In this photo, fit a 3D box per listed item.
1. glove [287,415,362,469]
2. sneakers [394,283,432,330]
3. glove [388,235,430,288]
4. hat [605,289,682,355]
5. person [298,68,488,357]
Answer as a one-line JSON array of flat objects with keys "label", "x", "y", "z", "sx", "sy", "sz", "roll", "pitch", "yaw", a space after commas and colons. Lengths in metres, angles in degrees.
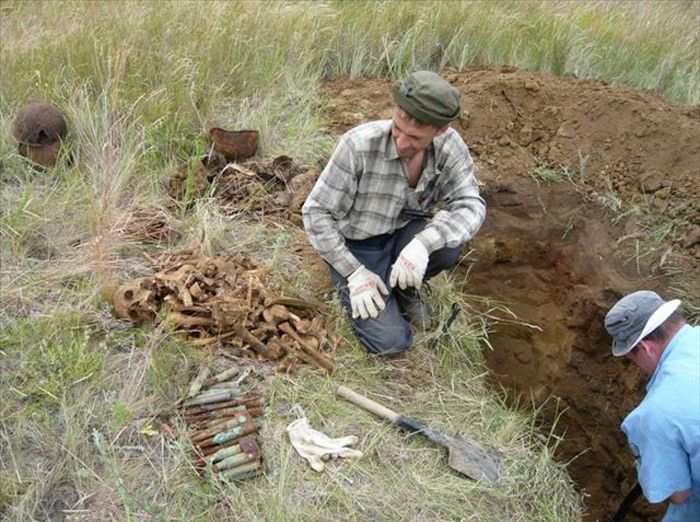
[{"label": "glove", "x": -0.176, "y": 1.216, "z": 3.864, "sx": 0.528, "sy": 0.133, "sz": 0.266, "roll": 16, "pitch": 38, "yaw": 2}, {"label": "sneakers", "x": 0.475, "y": 0.361, "z": 4.543, "sx": 0.090, "sy": 0.189, "sz": 0.282, "roll": -33, "pitch": 81, "yaw": -10}, {"label": "glove", "x": 0.441, "y": 0.018, "z": 4.291, "sx": 0.213, "sy": 0.404, "sz": 0.144, "roll": 16, "pitch": 35, "yaw": 4}, {"label": "hat", "x": 1.793, "y": 0.356, "z": 3.755, "sx": 0.197, "sy": 0.442, "sz": 0.382, "roll": 45, "pitch": 17, "yaw": -3}, {"label": "person", "x": 0.326, "y": -0.341, "z": 4.188, "sx": 1.278, "sy": 1.822, "sz": 0.794, "roll": 6, "pitch": 36, "yaw": -6}]
